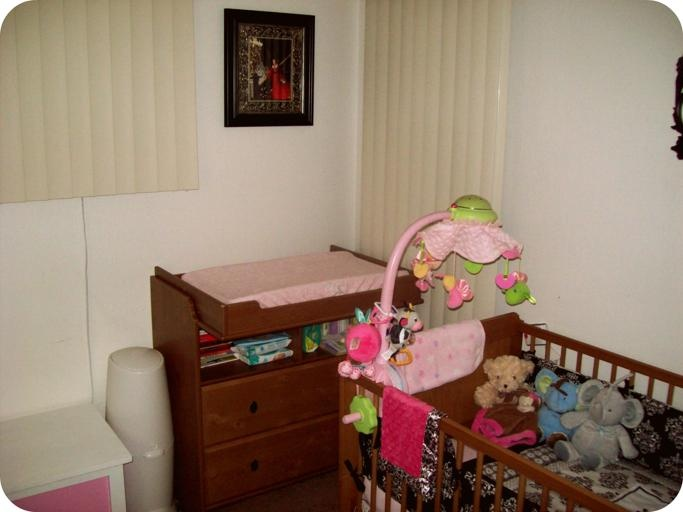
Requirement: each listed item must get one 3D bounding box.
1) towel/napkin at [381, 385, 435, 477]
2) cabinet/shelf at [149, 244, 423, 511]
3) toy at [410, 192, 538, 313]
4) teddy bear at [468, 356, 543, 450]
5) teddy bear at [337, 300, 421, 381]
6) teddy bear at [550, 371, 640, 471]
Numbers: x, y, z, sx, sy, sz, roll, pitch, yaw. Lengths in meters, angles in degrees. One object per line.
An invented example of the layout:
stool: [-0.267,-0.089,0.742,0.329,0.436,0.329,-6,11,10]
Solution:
towel/napkin: [0.250,0.699,2.001,0.055,0.419,0.300,-12,21,-38]
cabinet/shelf: [-0.264,0.616,3.407,1.900,1.932,1.117,-8,15,-28]
toy: [0.663,-0.015,2.478,0.490,0.525,0.260,12,31,28]
teddy bear: [0.793,0.721,2.545,0.284,0.396,0.293,-19,37,-15]
teddy bear: [0.180,0.362,2.201,0.369,0.321,0.168,-7,11,-32]
teddy bear: [1.165,0.752,2.341,0.269,0.453,0.373,-1,10,-41]
